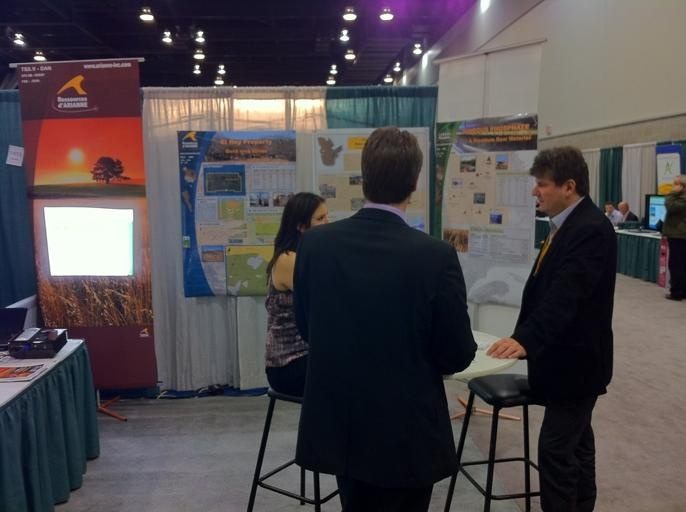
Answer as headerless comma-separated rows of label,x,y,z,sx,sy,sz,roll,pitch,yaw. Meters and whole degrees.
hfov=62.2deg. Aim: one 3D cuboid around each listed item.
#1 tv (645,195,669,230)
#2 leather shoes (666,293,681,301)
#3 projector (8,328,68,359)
tv,5.135,-0.696,9.269,0.557,0.603,0.058,-2,5,-17
leather shoes,4.630,0.590,7.958,0.067,0.085,0.185,-3,12,-31
projector,-2.004,0.570,3.815,0.183,0.108,0.264,0,4,-5
